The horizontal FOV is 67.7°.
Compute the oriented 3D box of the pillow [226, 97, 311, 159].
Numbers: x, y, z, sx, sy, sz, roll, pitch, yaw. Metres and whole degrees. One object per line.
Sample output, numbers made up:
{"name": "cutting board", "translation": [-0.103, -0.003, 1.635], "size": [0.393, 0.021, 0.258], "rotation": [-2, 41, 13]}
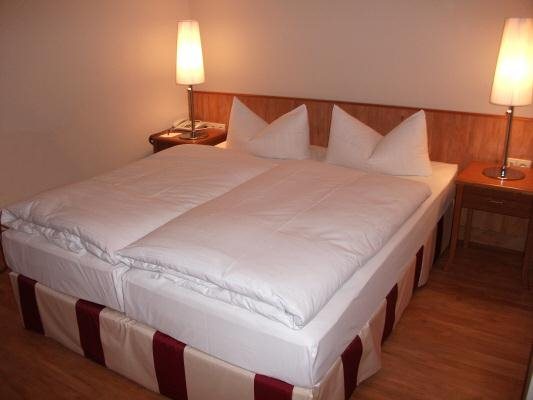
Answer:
{"name": "pillow", "translation": [0.003, -0.608, 3.688], "size": [0.910, 0.546, 0.511], "rotation": [13, 27, 25]}

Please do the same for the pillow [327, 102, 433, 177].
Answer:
{"name": "pillow", "translation": [0.923, -0.438, 3.291], "size": [0.926, 0.531, 0.514], "rotation": [12, 32, 24]}
